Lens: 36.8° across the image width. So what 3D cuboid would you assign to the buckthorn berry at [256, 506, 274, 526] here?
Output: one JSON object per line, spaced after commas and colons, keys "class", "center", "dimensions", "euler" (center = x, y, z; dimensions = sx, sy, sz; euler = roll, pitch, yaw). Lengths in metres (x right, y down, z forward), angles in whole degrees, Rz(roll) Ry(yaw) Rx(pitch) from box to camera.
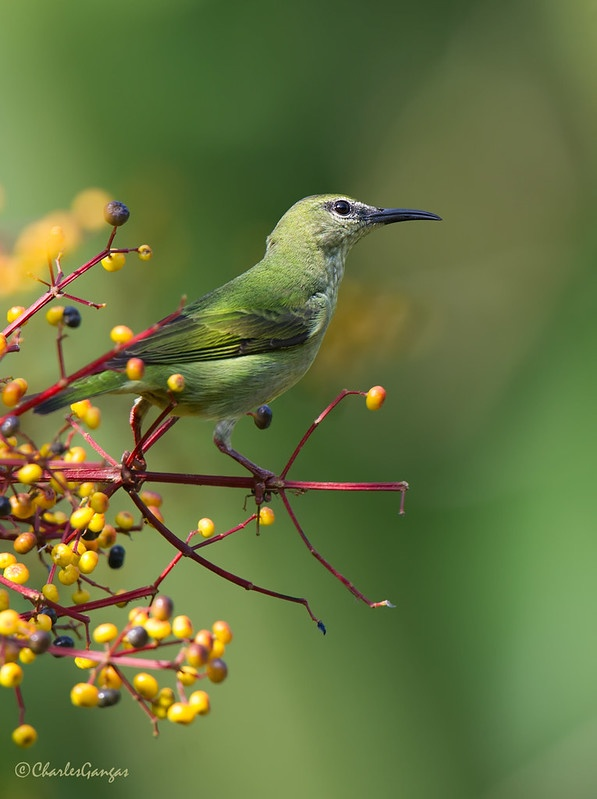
{"class": "buckthorn berry", "center": [-0.090, 0.313, 2.387], "dimensions": [0.039, 0.048, 0.072], "euler": [10, -39, 1]}
